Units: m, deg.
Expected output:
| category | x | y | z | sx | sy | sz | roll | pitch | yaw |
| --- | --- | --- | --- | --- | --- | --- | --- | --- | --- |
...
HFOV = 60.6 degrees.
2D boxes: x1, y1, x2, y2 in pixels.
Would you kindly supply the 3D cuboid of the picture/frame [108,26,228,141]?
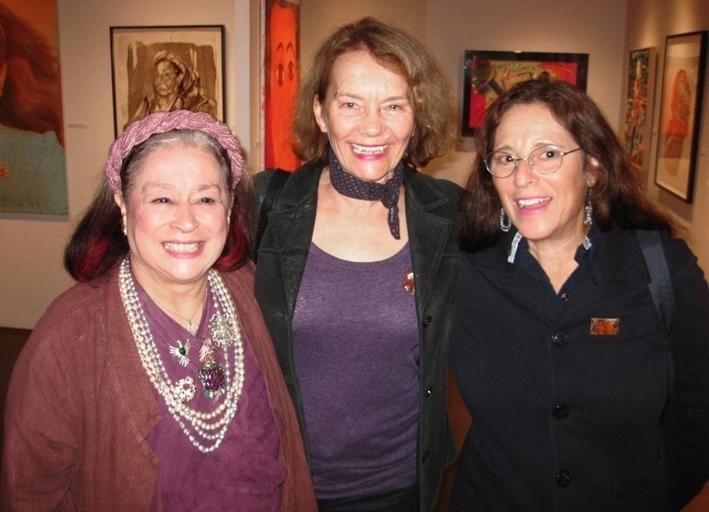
| category | x | y | z | sx | sy | sz | roll | pitch | yaw |
| --- | --- | --- | --- | --- | --- | --- | --- | --- | --- |
| picture/frame | -1.823 | -1.658 | 5.917 | 1.071 | 1.116 | 0.020 | -9 | 45 | -24 |
